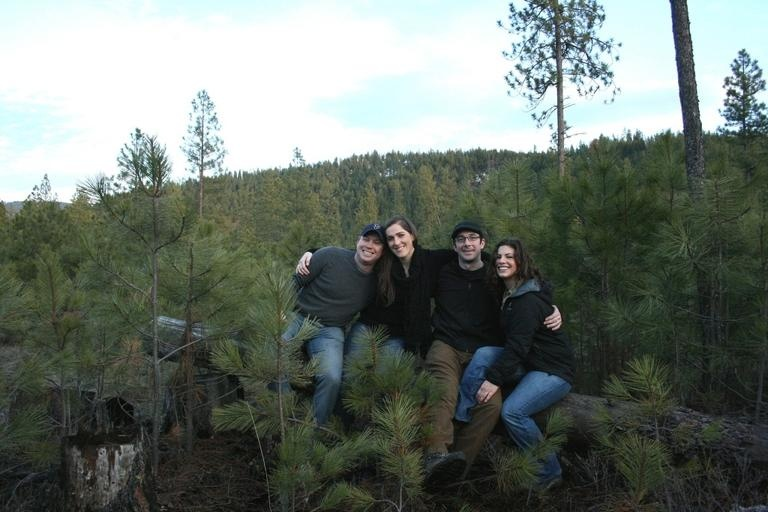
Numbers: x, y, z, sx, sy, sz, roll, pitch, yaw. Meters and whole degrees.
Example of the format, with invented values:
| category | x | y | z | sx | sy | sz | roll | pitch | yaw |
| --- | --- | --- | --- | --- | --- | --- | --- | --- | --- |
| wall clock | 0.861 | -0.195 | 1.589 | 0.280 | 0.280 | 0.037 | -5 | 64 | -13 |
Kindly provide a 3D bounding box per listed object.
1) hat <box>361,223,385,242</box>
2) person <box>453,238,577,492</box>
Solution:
| category | x | y | z | sx | sy | sz | roll | pitch | yaw |
| --- | --- | --- | --- | --- | --- | --- | --- | --- | --- |
| hat | -0.138 | -0.282 | 8.532 | 0.289 | 0.214 | 0.142 | -3 | 1 | -9 |
| person | 1.620 | 1.267 | 8.200 | 1.315 | 2.543 | 0.654 | -2 | 1 | 14 |
